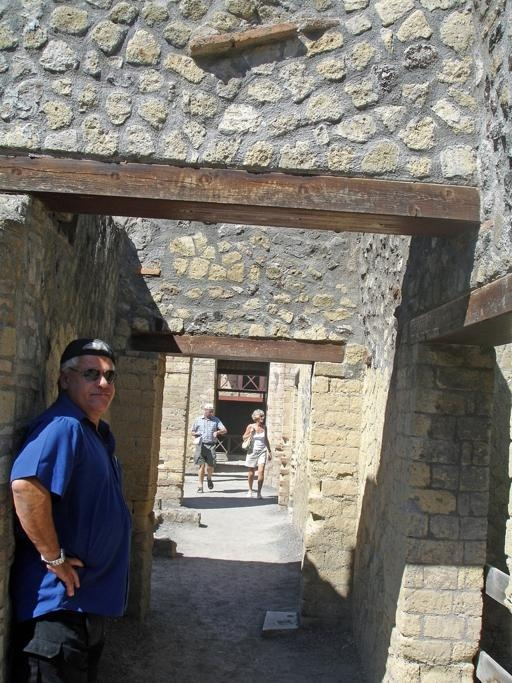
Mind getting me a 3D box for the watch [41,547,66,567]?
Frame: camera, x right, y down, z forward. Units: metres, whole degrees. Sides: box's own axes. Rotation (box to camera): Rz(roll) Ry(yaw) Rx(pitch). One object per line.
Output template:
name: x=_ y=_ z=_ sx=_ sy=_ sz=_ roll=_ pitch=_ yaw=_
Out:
watch: x=-0.784 y=0.825 z=2.562 sx=0.080 sy=0.028 sz=0.076 roll=-13 pitch=-8 yaw=2
